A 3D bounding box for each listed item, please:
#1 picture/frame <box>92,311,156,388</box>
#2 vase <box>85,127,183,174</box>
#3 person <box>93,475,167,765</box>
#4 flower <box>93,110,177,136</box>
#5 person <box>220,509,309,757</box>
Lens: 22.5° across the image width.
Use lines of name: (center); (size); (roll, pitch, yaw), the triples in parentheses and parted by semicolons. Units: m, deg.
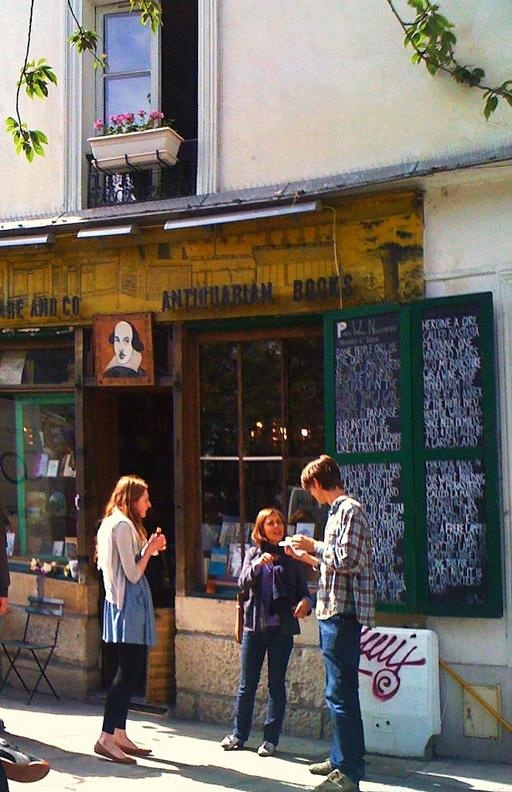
picture/frame: (-1.030, -0.357, 10.157); (0.370, 0.657, 0.189); (0, 1, 17)
vase: (-0.940, -1.925, 10.075); (0.718, 0.238, 0.297); (-2, -3, 14)
person: (-0.825, 1.438, 8.417); (0.455, 1.834, 0.356); (0, -3, -8)
flower: (-0.943, -2.098, 10.182); (0.580, 0.279, 0.333); (2, 6, 25)
person: (0.088, 1.544, 8.679); (0.570, 1.534, 0.684); (5, 2, -33)
